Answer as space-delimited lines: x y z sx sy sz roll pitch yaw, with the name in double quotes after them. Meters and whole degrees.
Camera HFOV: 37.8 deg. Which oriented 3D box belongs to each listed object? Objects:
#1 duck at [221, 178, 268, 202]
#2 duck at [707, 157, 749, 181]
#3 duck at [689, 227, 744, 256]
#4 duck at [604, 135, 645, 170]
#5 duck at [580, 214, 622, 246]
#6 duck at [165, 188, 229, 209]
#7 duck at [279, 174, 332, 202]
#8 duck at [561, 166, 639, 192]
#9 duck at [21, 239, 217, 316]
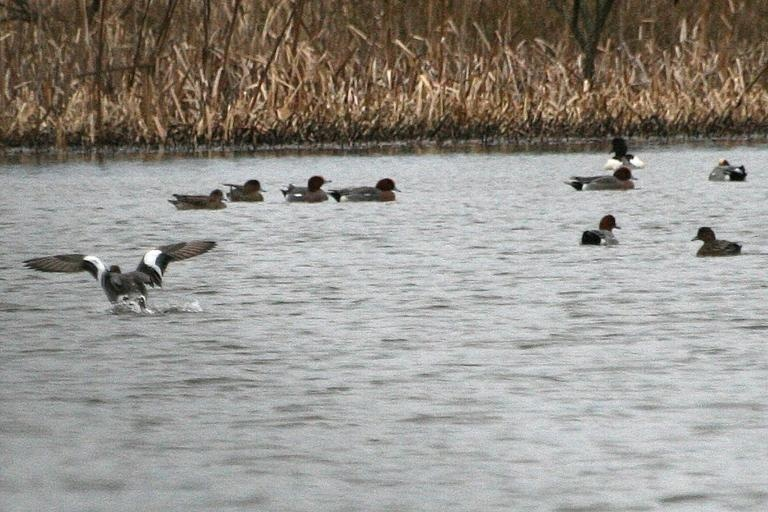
-2.237 -1.086 18.471 0.525 0.365 0.867 -5 9 -33 "duck"
6.020 -1.512 19.767 0.529 0.244 0.612 -1 14 3 "duck"
3.986 -0.141 13.406 0.632 0.351 0.308 1 -1 26 "duck"
4.632 -2.007 21.907 0.785 0.466 1.168 0 14 -1 "duck"
2.751 -0.347 14.412 0.461 0.348 0.751 1 7 10 "duck"
-2.835 -0.876 17.314 0.745 0.195 0.398 -4 7 -14 "duck"
-1.291 -1.100 18.443 0.740 0.444 0.476 -1 8 -8 "duck"
3.848 -1.286 19.627 1.587 0.542 0.430 -4 23 -3 "duck"
-2.462 0.217 10.669 1.711 0.651 0.481 -3 9 -19 "duck"
